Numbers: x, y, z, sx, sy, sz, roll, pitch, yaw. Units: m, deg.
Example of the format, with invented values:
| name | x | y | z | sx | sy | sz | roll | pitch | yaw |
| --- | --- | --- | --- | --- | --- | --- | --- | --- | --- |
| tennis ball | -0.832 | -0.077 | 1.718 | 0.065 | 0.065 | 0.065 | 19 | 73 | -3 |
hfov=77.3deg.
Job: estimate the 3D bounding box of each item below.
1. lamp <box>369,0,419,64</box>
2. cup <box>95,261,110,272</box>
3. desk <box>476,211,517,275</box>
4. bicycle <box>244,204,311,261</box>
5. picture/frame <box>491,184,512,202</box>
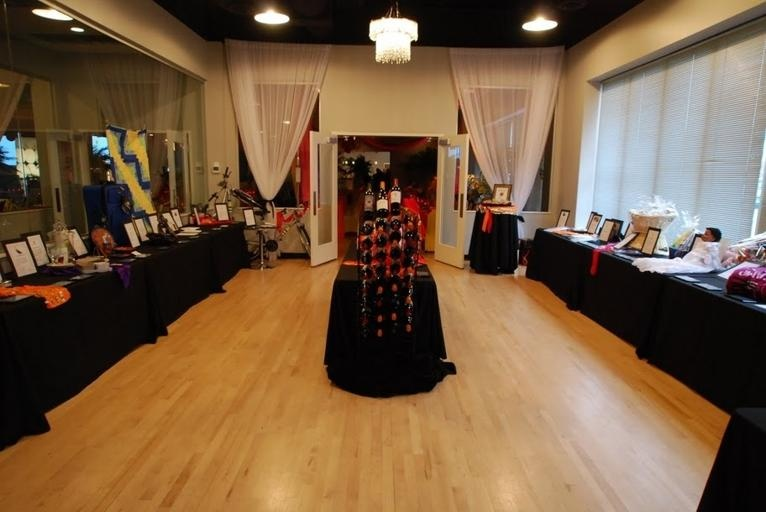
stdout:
| name | x | y | z | sx | sy | sz | roll | pitch | yaw |
| --- | --- | --- | --- | --- | --- | --- | --- | --- | --- |
| lamp | 0.175 | -3.059 | 6.727 | 0.685 | 0.968 | 0.713 | -6 | 13 | -28 |
| cup | -2.836 | 0.103 | 4.830 | 0.082 | 0.079 | 0.108 | 0 | -4 | -2 |
| desk | 2.019 | -0.352 | 8.515 | 0.683 | 1.073 | 0.727 | 3 | -3 | 2 |
| bicycle | -2.015 | -0.372 | 8.993 | 1.322 | 0.975 | 0.753 | 0 | 9 | 8 |
| picture/frame | 2.108 | -1.121 | 8.554 | 0.267 | 0.353 | 0.024 | 11 | -10 | 26 |
